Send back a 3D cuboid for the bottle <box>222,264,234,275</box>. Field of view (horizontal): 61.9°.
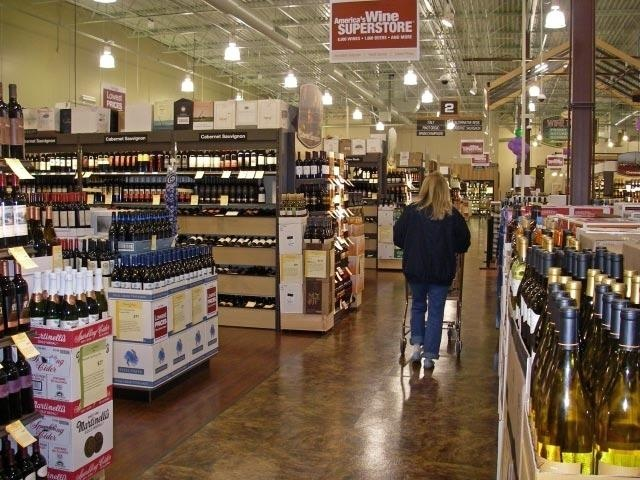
[{"bbox_3d":[-1.371,0.428,7.842,0.226,0.117,0.188,-1,5,-11],"label":"bottle"}]

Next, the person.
[{"bbox_3d":[1.220,0.353,5.944,0.792,2.203,0.442,1,4,17],"label":"person"}]

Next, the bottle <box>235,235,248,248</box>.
[{"bbox_3d":[-1.126,0.010,7.798,0.252,0.170,0.152,-3,3,-21],"label":"bottle"}]

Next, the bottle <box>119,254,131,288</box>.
[{"bbox_3d":[-1.795,0.292,4.970,0.122,0.296,0.048,1,4,9],"label":"bottle"}]

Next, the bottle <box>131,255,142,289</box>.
[{"bbox_3d":[-1.682,0.298,4.944,0.112,0.310,0.045,1,4,9],"label":"bottle"}]

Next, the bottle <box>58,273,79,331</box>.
[{"bbox_3d":[-1.645,0.396,3.532,0.102,0.358,0.102,0,4,0],"label":"bottle"}]

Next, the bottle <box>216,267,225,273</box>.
[{"bbox_3d":[-1.438,0.440,7.863,0.152,0.100,0.143,0,5,0],"label":"bottle"}]

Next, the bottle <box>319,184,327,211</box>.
[{"bbox_3d":[0.065,-0.643,8.044,0.098,0.392,0.216,3,5,35],"label":"bottle"}]

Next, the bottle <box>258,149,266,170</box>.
[{"bbox_3d":[-0.826,-1.140,7.619,0.147,0.322,0.163,0,3,5],"label":"bottle"}]

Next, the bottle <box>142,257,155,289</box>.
[{"bbox_3d":[-1.573,0.298,4.936,0.097,0.307,0.096,0,4,0],"label":"bottle"}]

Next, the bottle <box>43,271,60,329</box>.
[{"bbox_3d":[-1.750,0.394,3.511,0.096,0.360,0.059,-1,4,-19],"label":"bottle"}]

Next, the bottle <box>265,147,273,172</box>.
[{"bbox_3d":[-0.706,-1.146,7.633,0.151,0.306,0.092,0,4,-5],"label":"bottle"}]

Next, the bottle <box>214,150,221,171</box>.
[{"bbox_3d":[-1.485,-1.163,7.834,0.138,0.232,0.086,3,5,39],"label":"bottle"}]

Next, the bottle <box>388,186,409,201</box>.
[{"bbox_3d":[1.996,-1.199,14.007,0.395,0.459,0.432,2,8,21],"label":"bottle"}]

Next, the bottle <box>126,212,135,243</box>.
[{"bbox_3d":[-1.880,-0.134,5.317,0.123,0.262,0.205,-2,5,-21],"label":"bottle"}]

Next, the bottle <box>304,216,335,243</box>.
[{"bbox_3d":[0.020,-0.143,7.513,0.480,0.355,0.284,-4,6,-39],"label":"bottle"}]

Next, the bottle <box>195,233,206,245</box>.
[{"bbox_3d":[-1.773,-0.017,7.997,0.121,0.145,0.143,3,-11,7],"label":"bottle"}]

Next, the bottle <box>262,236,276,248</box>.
[{"bbox_3d":[-0.711,0.037,7.664,0.261,0.137,0.165,2,5,15],"label":"bottle"}]

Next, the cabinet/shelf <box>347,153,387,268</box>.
[{"bbox_3d":[1.178,-0.738,13.419,0.867,2.850,0.716,1,4,11],"label":"cabinet/shelf"}]

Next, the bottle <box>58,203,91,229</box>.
[{"bbox_3d":[-2.463,-0.242,5.364,0.100,0.356,0.214,11,7,44],"label":"bottle"}]

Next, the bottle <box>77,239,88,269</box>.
[{"bbox_3d":[-2.250,0.118,5.105,0.112,0.251,0.276,-2,5,-25],"label":"bottle"}]

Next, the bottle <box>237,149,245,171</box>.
[{"bbox_3d":[-1.131,-1.152,7.737,0.125,0.255,0.056,3,5,39],"label":"bottle"}]

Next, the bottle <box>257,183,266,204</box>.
[{"bbox_3d":[-0.849,-0.685,7.849,0.106,0.267,0.174,0,4,-4],"label":"bottle"}]

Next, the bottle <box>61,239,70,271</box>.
[{"bbox_3d":[-2.328,0.123,4.955,0.087,0.261,0.191,-2,5,-26],"label":"bottle"}]

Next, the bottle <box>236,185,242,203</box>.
[{"bbox_3d":[-1.175,-0.677,7.847,0.073,0.228,0.061,-1,4,-11],"label":"bottle"}]

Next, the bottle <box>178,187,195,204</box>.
[{"bbox_3d":[-1.993,-0.661,8.014,0.210,0.238,0.110,1,10,1],"label":"bottle"}]

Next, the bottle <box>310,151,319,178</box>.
[{"bbox_3d":[-0.081,-1.133,8.013,0.138,0.386,0.176,0,4,-1],"label":"bottle"}]

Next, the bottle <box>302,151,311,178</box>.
[{"bbox_3d":[-0.192,-1.125,7.995,0.114,0.374,0.113,0,4,0],"label":"bottle"}]

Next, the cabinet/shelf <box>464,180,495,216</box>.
[{"bbox_3d":[10.803,-3.051,36.652,2.307,2.612,0.874,4,11,22],"label":"cabinet/shelf"}]

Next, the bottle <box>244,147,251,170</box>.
[{"bbox_3d":[-1.037,-1.159,7.722,0.099,0.255,0.086,0,4,4],"label":"bottle"}]

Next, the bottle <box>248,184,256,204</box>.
[{"bbox_3d":[-0.975,-0.686,7.843,0.170,0.247,0.092,0,4,-1],"label":"bottle"}]

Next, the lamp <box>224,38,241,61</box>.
[{"bbox_3d":[-1.922,-4.221,11.828,0.271,0.527,0.844,0,5,-5],"label":"lamp"}]

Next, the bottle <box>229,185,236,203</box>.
[{"bbox_3d":[-1.273,-0.678,7.865,0.131,0.248,0.039,1,4,18],"label":"bottle"}]

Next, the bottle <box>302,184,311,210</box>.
[{"bbox_3d":[-0.221,-0.649,7.998,0.230,0.408,0.102,1,4,10],"label":"bottle"}]

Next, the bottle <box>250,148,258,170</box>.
[{"bbox_3d":[-0.942,-1.154,7.687,0.141,0.255,0.083,2,4,20],"label":"bottle"}]

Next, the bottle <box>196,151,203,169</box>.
[{"bbox_3d":[-1.747,-1.172,7.898,0.112,0.233,0.092,0,4,4],"label":"bottle"}]

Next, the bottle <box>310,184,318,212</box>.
[{"bbox_3d":[-0.081,-0.647,7.985,0.139,0.372,0.076,0,4,-1],"label":"bottle"}]
